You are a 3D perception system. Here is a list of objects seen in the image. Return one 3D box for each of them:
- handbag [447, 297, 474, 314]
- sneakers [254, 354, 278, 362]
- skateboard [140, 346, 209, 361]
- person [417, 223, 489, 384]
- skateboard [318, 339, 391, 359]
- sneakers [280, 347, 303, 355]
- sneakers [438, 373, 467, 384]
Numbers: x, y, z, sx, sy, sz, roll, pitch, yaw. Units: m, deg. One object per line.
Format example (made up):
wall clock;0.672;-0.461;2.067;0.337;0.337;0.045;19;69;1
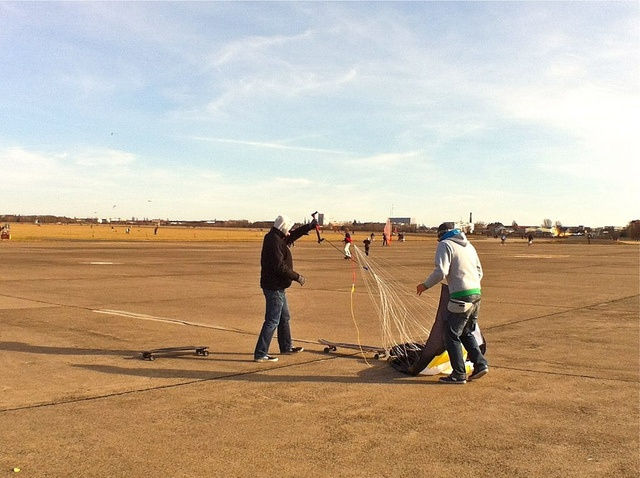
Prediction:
handbag;1.923;0.916;7.786;0.350;0.152;0.159;2;-1;8
sneakers;-0.845;1.842;8.867;0.343;0.128;0.125;-1;-3;-6
skateboard;-2.305;1.792;9.038;0.939;0.138;0.351;1;-3;-26
person;1.889;0.882;7.959;1.029;1.715;0.513;3;-1;-20
skateboard;0.362;1.811;9.559;1.615;0.269;0.378;1;0;25
sneakers;-0.466;1.850;9.453;0.376;0.143;0.125;-11;13;-25
sneakers;1.831;1.944;7.933;0.396;0.154;0.140;1;-5;19
